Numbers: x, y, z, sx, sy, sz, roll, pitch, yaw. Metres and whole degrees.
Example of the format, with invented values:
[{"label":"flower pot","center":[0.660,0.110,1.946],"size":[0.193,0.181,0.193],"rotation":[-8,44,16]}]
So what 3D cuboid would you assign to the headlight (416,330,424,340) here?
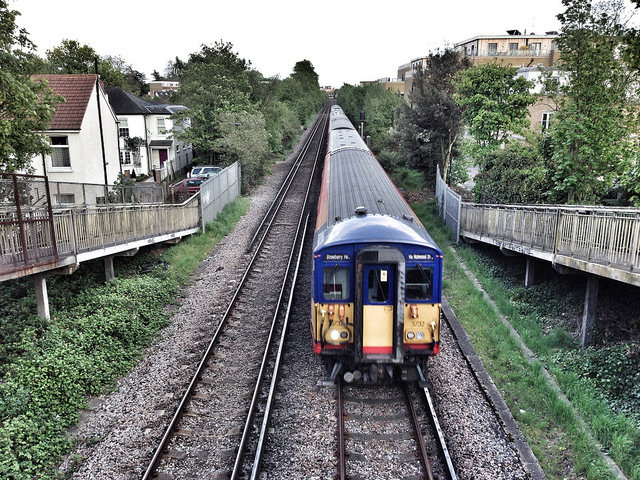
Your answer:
[{"label":"headlight","center":[2.494,2.400,11.989],"size":[0.173,0.194,0.044],"rotation":[13,0,-10]}]

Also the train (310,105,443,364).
[{"label":"train","center":[1.370,0.101,15.378],"size":[3.148,5.235,7.856],"rotation":[0,8,0]}]

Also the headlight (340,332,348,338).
[{"label":"headlight","center":[0.607,2.397,12.063],"size":[0.121,0.146,0.031],"rotation":[-1,10,-4]}]

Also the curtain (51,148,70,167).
[{"label":"curtain","center":[-14.519,-4.590,26.738],"size":[1.096,1.034,0.292],"rotation":[0,7,1]}]
